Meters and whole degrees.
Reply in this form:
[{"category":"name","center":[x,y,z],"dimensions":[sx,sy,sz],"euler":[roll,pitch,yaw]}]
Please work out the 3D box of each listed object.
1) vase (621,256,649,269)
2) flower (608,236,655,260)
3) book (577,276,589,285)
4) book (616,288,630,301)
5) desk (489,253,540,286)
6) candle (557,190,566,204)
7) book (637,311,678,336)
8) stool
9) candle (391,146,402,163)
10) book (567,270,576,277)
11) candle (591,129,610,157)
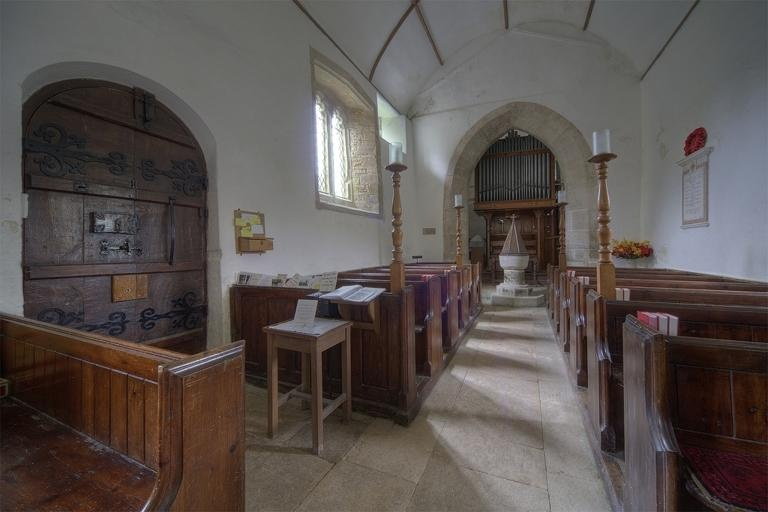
[{"category":"vase","center":[4.355,0.118,8.274],"dimensions":[0.472,0.189,0.478],"euler":[-1,-2,-2]},{"category":"flower","center":[4.251,-0.110,8.323],"dimensions":[0.585,0.301,0.614],"euler":[-1,-4,-2]},{"category":"book","center":[2.134,0.261,5.124],"dimensions":[0.126,0.119,0.032],"euler":[11,-20,-24]},{"category":"book","center":[2.215,0.350,4.448],"dimensions":[0.117,0.115,0.119],"euler":[1,3,19]},{"category":"desk","center":[3.443,0.355,12.788],"dimensions":[1.330,0.737,0.586],"euler":[0,1,20]},{"category":"candle","center":[2.894,-0.960,7.813],"dimensions":[0.095,0.231,0.213],"euler":[1,2,29]},{"category":"book","center":[2.094,0.504,3.744],"dimensions":[0.289,0.214,0.284],"euler":[4,-8,0]},{"category":"stool","center":[-0.679,1.142,4.523],"dimensions":[0.668,0.949,0.702],"euler":[0,2,41]},{"category":"candle","center":[0.114,-0.987,4.631],"dimensions":[0.096,0.195,0.136],"euler":[0,1,7]},{"category":"book","center":[2.354,0.222,6.024],"dimensions":[0.050,0.068,0.071],"euler":[-6,-3,34]},{"category":"candle","center":[2.040,-1.069,4.495],"dimensions":[0.144,0.264,0.211],"euler":[1,1,24]}]
